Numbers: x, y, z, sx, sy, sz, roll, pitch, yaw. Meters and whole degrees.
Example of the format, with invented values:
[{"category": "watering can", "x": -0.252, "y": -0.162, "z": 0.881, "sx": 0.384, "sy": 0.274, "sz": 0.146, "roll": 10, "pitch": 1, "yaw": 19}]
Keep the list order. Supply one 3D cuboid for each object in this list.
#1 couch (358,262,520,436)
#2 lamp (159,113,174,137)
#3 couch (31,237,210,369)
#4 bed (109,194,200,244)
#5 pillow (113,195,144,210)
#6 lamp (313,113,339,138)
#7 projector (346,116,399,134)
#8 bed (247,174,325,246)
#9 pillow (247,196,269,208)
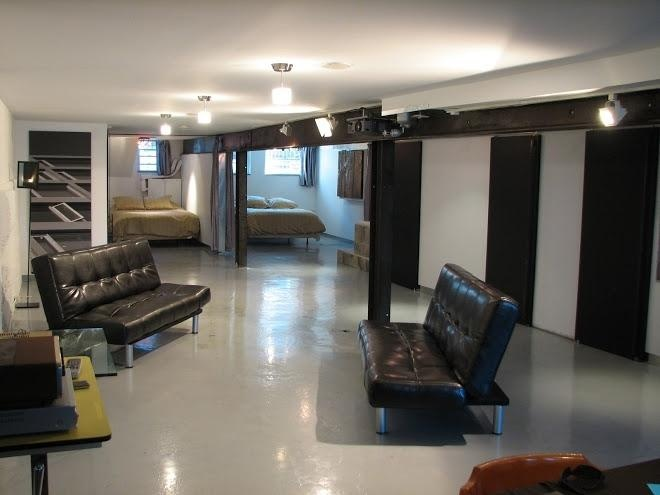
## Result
[{"category": "couch", "x": 0.748, "y": 0.719, "z": 3.640, "sx": 1.004, "sy": 0.985, "sz": 1.044, "roll": 1, "pitch": 10, "yaw": 1}, {"category": "lamp", "x": -2.453, "y": -1.843, "z": 7.450, "sx": 0.151, "sy": 0.200, "sz": 1.683, "roll": -2, "pitch": 10, "yaw": -18}, {"category": "couch", "x": -1.938, "y": 0.485, "z": 4.779, "sx": 0.911, "sy": 0.984, "sz": 1.333, "roll": 4, "pitch": 10, "yaw": 17}, {"category": "bed", "x": -4.045, "y": -0.630, "z": 11.436, "sx": 1.813, "sy": 0.995, "sz": 2.181, "roll": -4, "pitch": 11, "yaw": -25}, {"category": "pillow", "x": -4.715, "y": -1.055, "z": 11.666, "sx": 0.453, "sy": 0.132, "sz": 0.428, "roll": 4, "pitch": 22, "yaw": -19}, {"category": "lamp", "x": -0.060, "y": -1.467, "z": 6.025, "sx": 0.156, "sy": 0.262, "sz": 0.335, "roll": -5, "pitch": 12, "yaw": -31}, {"category": "projector", "x": 0.446, "y": -1.247, "z": 5.055, "sx": 0.529, "sy": 0.187, "sz": 0.300, "roll": 1, "pitch": 10, "yaw": 2}, {"category": "bed", "x": -1.075, "y": -0.575, "z": 11.417, "sx": 1.608, "sy": 1.030, "sz": 1.968, "roll": -1, "pitch": 10, "yaw": -9}, {"category": "pillow", "x": -1.676, "y": -1.055, "z": 11.646, "sx": 0.387, "sy": 0.114, "sz": 0.381, "roll": 12, "pitch": 14, "yaw": 41}]
